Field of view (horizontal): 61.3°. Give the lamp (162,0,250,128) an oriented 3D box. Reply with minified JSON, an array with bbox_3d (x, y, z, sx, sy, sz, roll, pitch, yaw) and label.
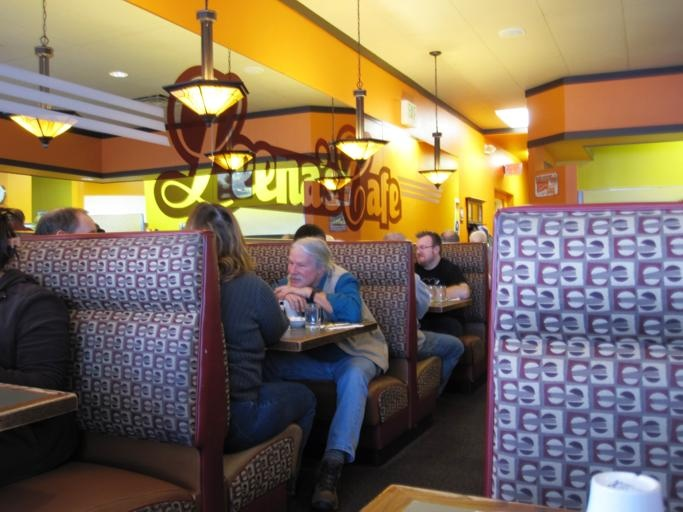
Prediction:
[{"bbox_3d":[-1.049,-1.646,4.682,0.588,1.091,0.619,1,3,13],"label":"lamp"}]

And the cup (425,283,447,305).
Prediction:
[{"bbox_3d":[0.854,0.349,5.185,0.161,0.181,0.175,-2,-3,0],"label":"cup"}]

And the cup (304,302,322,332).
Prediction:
[{"bbox_3d":[-0.173,0.355,3.387,0.083,0.151,0.141,0,-12,-5],"label":"cup"}]

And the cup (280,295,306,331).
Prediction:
[{"bbox_3d":[-0.292,0.346,3.445,0.160,0.166,0.122,-2,-3,25],"label":"cup"}]

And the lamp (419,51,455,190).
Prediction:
[{"bbox_3d":[1.595,-2.332,9.691,0.578,2.080,0.536,-15,26,-21],"label":"lamp"}]

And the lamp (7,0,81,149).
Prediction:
[{"bbox_3d":[-2.230,-1.329,4.303,0.456,0.986,0.470,-2,3,-34],"label":"lamp"}]
